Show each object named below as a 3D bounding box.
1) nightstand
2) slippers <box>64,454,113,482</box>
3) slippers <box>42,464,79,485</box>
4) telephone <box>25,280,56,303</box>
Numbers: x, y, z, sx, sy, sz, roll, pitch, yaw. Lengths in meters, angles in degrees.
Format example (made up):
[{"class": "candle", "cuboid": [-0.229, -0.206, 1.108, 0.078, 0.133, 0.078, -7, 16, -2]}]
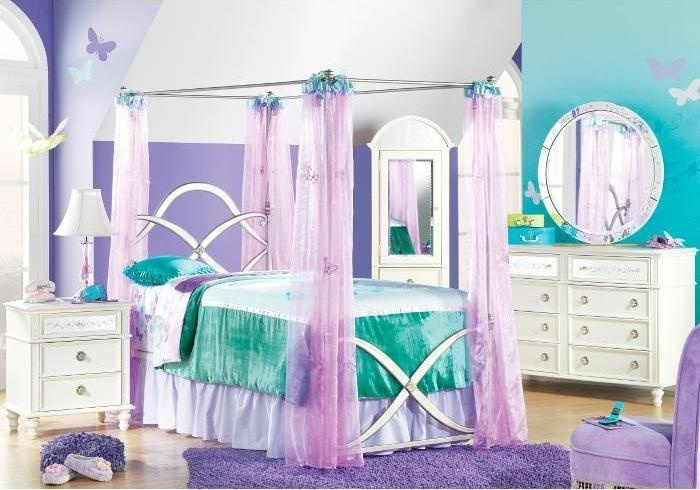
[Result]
[{"class": "nightstand", "cuboid": [-2.001, 0.797, 5.345, 1.025, 1.335, 0.862, 2, -4, -34]}, {"class": "slippers", "cuboid": [-1.559, 1.292, 4.086, 0.312, 0.136, 0.125, 8, 5, 25]}, {"class": "slippers", "cuboid": [-1.730, 1.343, 4.013, 0.090, 0.074, 0.166, 1, -7, -4]}, {"class": "telephone", "cuboid": [-2.293, 0.329, 5.026, 0.238, 0.163, 0.138, -1, 5, -36]}]
